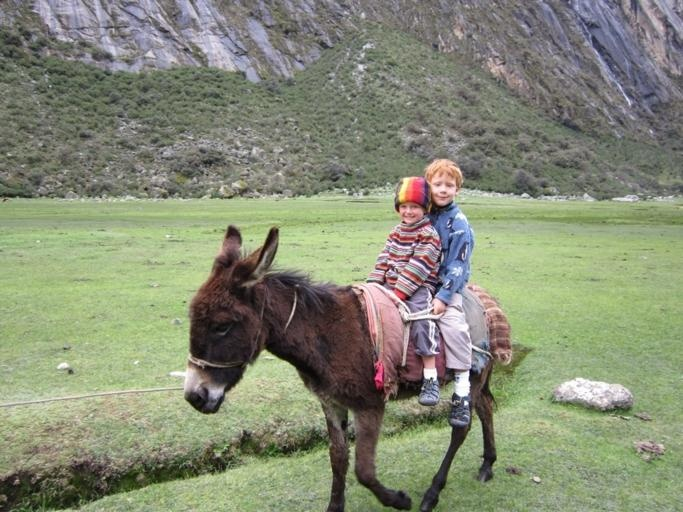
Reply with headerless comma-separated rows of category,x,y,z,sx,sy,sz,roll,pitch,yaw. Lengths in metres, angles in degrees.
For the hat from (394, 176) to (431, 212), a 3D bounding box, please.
hat,0.913,-0.766,6.730,0.486,0.439,0.596,4,-2,6
